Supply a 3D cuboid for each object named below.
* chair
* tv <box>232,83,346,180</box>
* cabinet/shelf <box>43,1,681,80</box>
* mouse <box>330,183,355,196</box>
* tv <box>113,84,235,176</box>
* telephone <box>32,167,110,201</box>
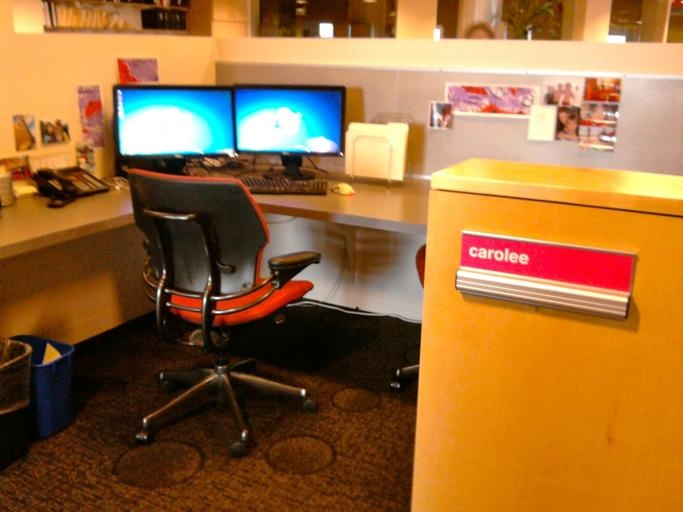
[{"bbox_3d":[-0.505,0.162,2.333,0.756,1.002,0.760,-5,11,-33],"label":"chair"},{"bbox_3d":[-0.265,-0.656,2.854,0.644,0.528,0.212,2,18,3],"label":"tv"},{"bbox_3d":[0.213,-1.022,2.801,2.578,0.204,0.609,3,21,11],"label":"cabinet/shelf"},{"bbox_3d":[0.009,-0.317,2.586,0.065,0.030,0.091,-15,27,-42],"label":"mouse"},{"bbox_3d":[-0.835,-0.632,2.719,0.556,0.390,0.153,-6,18,-26],"label":"tv"},{"bbox_3d":[-1.209,-0.332,2.512,0.215,0.063,0.201,24,28,24],"label":"telephone"}]
